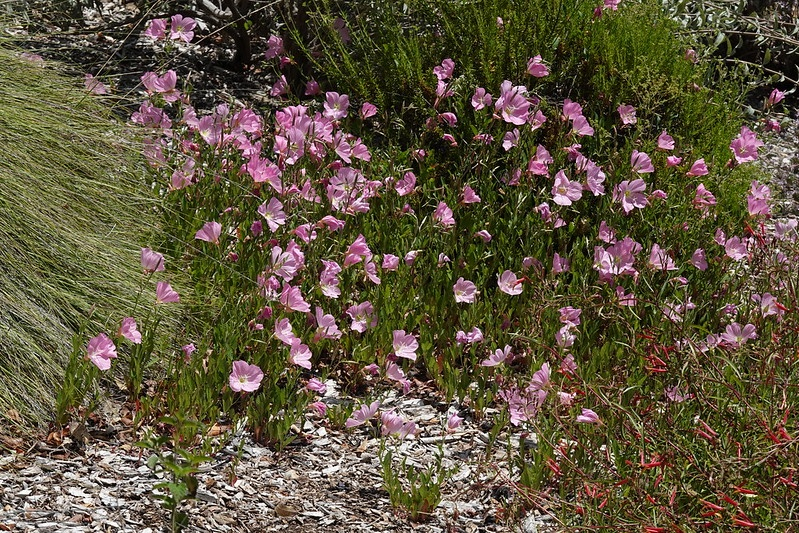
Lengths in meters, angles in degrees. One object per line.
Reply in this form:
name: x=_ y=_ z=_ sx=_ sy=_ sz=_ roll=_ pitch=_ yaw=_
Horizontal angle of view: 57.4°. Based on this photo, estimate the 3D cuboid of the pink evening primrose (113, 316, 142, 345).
pink evening primrose: x=-1.257 y=0.295 z=3.449 sx=0.113 sy=0.129 sz=0.056 roll=-1 pitch=3 yaw=-43

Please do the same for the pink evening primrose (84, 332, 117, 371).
pink evening primrose: x=-1.373 y=0.386 z=3.402 sx=0.152 sy=0.160 sz=0.093 roll=-48 pitch=24 yaw=-23
